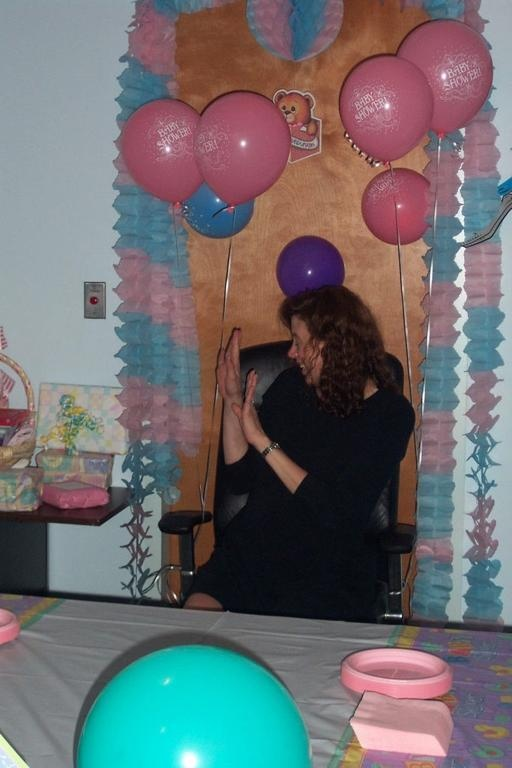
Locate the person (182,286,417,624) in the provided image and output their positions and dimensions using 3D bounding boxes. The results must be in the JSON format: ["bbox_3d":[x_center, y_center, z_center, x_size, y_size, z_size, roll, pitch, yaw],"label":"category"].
[{"bbox_3d":[0.130,0.156,1.749,0.531,0.832,0.427,1,1,6],"label":"person"}]

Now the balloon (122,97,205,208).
[{"bbox_3d":[-0.253,-0.640,1.867,0.217,0.255,0.224,1,1,-2],"label":"balloon"}]

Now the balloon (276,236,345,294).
[{"bbox_3d":[0.140,-0.347,1.979,0.203,0.183,0.180,1,1,12],"label":"balloon"}]

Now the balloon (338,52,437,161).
[{"bbox_3d":[0.307,-0.675,1.659,0.187,0.214,0.222,0,1,-31],"label":"balloon"}]

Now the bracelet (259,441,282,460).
[{"bbox_3d":[0.035,0.168,1.758,0.048,0.031,0.051,-36,-3,9],"label":"bracelet"}]

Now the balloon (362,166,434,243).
[{"bbox_3d":[0.416,-0.517,2.021,0.231,0.245,0.222,2,12,16],"label":"balloon"}]
